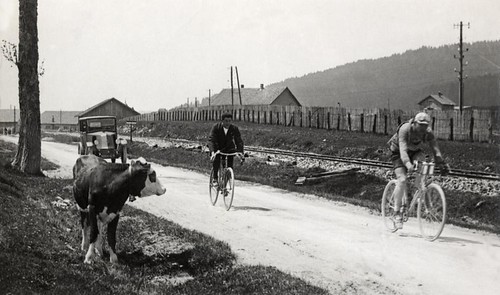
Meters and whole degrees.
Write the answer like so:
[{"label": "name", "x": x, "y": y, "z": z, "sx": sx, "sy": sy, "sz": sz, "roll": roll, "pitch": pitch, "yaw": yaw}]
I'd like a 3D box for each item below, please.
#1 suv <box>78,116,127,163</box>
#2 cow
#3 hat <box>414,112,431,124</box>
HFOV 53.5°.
[{"label": "suv", "x": -9.141, "y": -0.641, "z": 30.651, "sx": 1.780, "sy": 2.398, "sz": 3.521, "roll": 0, "pitch": -2, "yaw": -23}, {"label": "cow", "x": -4.231, "y": 1.822, "z": 14.888, "sx": 2.798, "sy": 3.221, "sz": 1.016, "roll": 5, "pitch": 7, "yaw": 20}, {"label": "hat", "x": 5.833, "y": -0.977, "z": 16.783, "sx": 0.544, "sy": 0.409, "sz": 0.546, "roll": 4, "pitch": 8, "yaw": 7}]
